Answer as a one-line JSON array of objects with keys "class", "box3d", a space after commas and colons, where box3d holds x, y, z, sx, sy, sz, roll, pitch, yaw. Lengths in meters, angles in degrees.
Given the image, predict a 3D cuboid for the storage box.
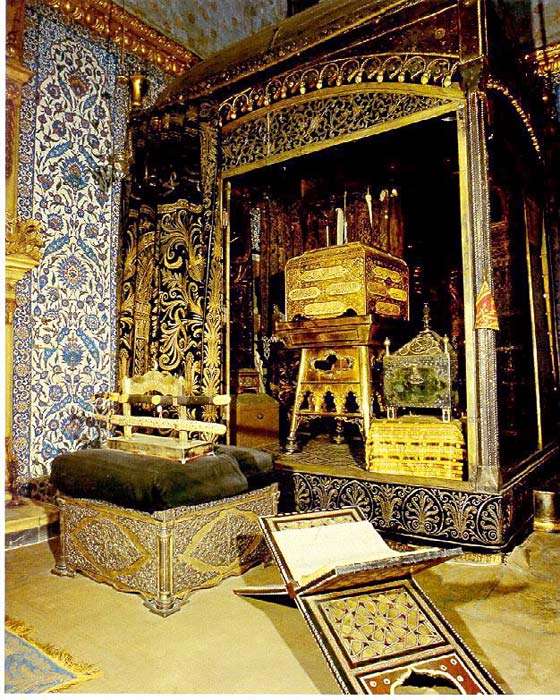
[{"class": "storage box", "box3d": [0.434, -0.416, 4.123, 0.789, 0.401, 0.748, 1, -2, -29]}]
